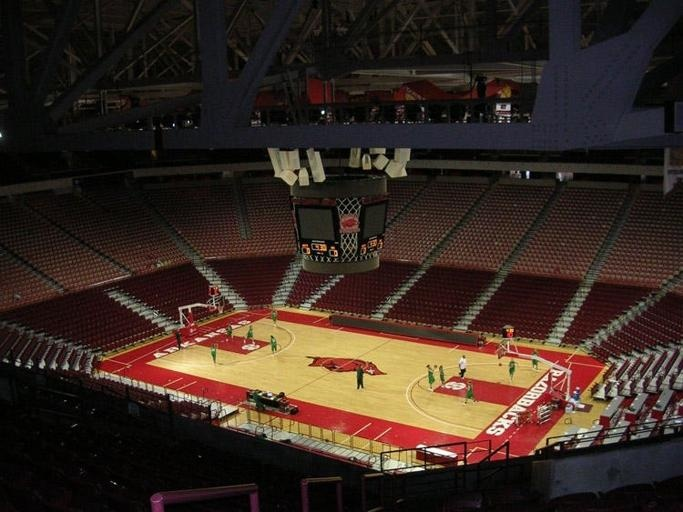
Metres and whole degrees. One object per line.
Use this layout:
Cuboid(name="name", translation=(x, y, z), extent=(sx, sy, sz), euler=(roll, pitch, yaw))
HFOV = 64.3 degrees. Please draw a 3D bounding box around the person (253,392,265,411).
Cuboid(name="person", translation=(-3.922, 6.906, 25.847), extent=(0.429, 0.884, 0.430), euler=(-12, 17, -33))
